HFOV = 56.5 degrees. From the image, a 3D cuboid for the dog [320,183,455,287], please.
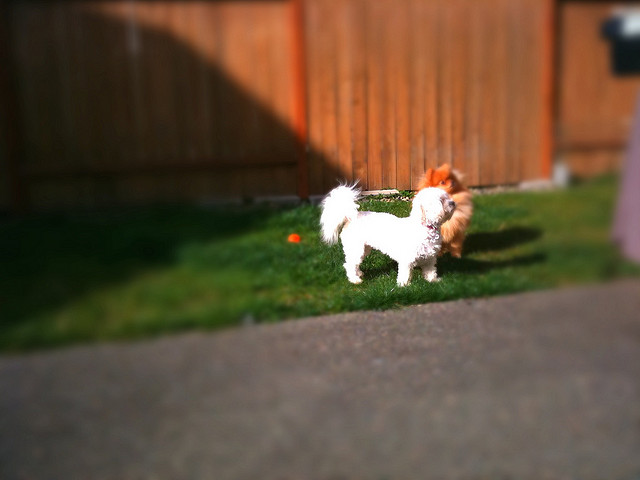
[{"bbox_3d":[0.452,-0.046,4.078,0.854,0.748,0.372,5,22,20],"label":"dog"}]
